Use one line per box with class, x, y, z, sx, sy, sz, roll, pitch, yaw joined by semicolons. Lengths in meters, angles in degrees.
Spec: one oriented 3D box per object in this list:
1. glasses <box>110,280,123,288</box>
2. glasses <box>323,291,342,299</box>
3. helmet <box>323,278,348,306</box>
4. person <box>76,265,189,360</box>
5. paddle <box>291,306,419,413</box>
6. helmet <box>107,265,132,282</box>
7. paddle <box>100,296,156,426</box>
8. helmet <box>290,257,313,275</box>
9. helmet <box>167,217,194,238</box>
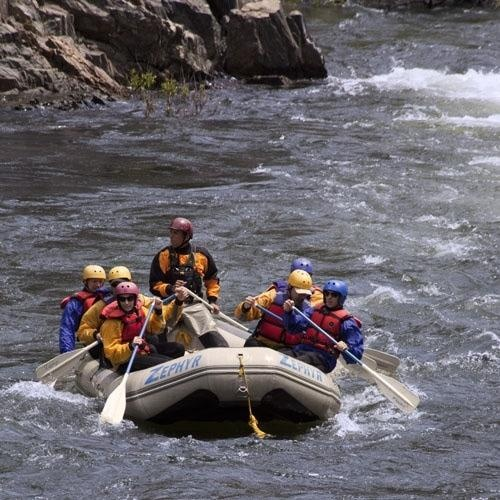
glasses;-1.507;0.381;11.896;0.120;0.088;0.081;11;-13;21
glasses;0.940;0.514;12.094;0.216;0.074;0.121;0;6;14
helmet;0.968;0.465;12.199;0.278;0.226;0.330;3;-12;28
person;-1.281;0.958;11.841;0.856;1.183;0.839;-3;20;11
paddle;1.206;1.325;12.376;1.975;0.130;0.305;30;-30;5
helmet;-1.476;0.274;11.965;0.234;0.166;0.201;-3;6;-8
paddle;-1.280;1.268;11.447;0.246;0.067;1.615;15;37;2
helmet;0.632;0.205;12.724;0.232;0.242;0.270;10;7;-1
helmet;-0.813;-0.277;12.763;0.318;0.205;0.246;-13;18;-36
